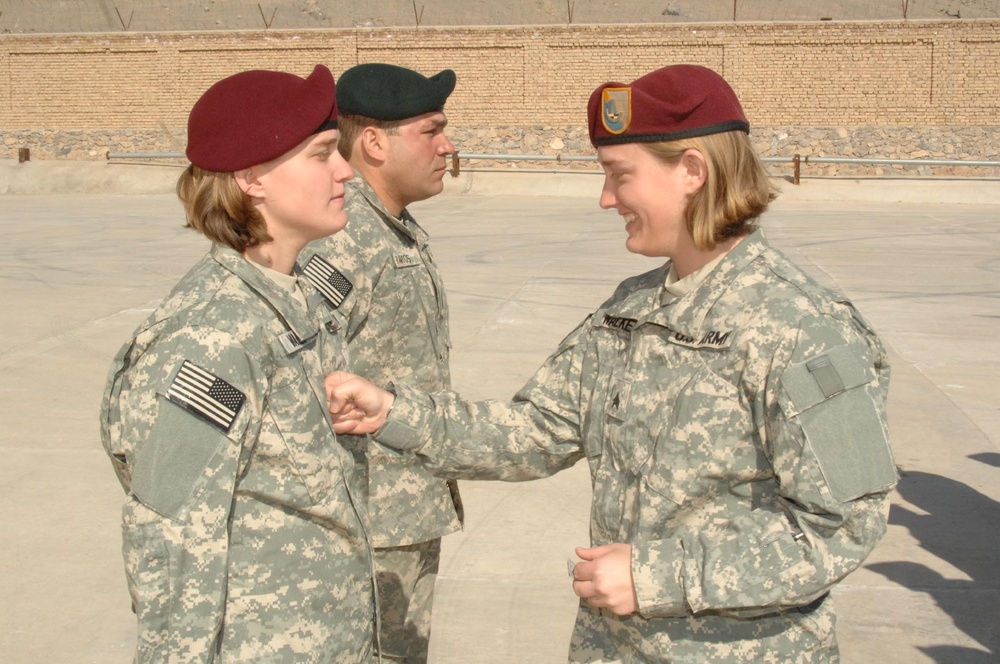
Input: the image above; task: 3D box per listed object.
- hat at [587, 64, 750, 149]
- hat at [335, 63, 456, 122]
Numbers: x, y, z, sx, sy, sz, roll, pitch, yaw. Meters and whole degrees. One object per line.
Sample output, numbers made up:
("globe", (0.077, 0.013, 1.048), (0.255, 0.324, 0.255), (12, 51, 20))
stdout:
("hat", (0.734, -0.963, 5.807), (0.733, 0.294, 0.531), (2, 4, 0))
("hat", (-0.569, -1.291, 6.920), (0.697, 0.229, 0.453), (-8, 29, -20))
